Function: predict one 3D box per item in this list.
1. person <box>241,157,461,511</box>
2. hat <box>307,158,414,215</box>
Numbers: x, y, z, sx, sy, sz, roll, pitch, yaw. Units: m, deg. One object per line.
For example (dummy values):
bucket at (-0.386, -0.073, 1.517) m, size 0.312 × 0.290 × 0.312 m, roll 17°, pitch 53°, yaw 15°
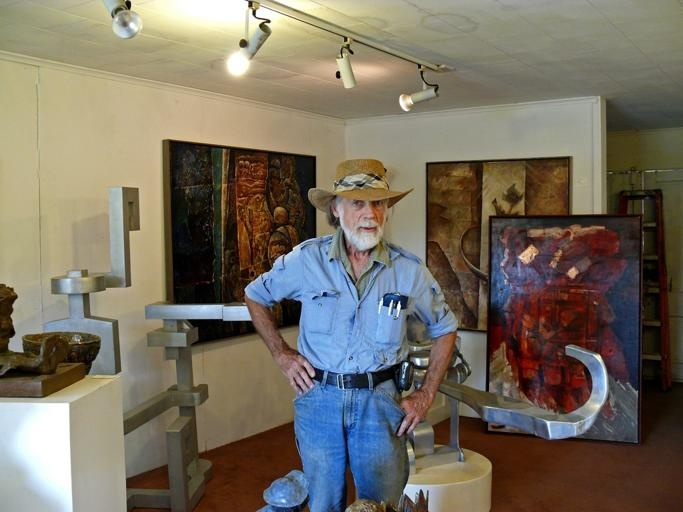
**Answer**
person at (0.026, 0.524, 2.634) m, size 1.028 × 1.308 × 0.505 m, roll 1°, pitch 5°, yaw 12°
hat at (0.067, -0.396, 2.714) m, size 0.478 × 0.199 × 0.516 m, roll -11°, pitch 9°, yaw -40°
